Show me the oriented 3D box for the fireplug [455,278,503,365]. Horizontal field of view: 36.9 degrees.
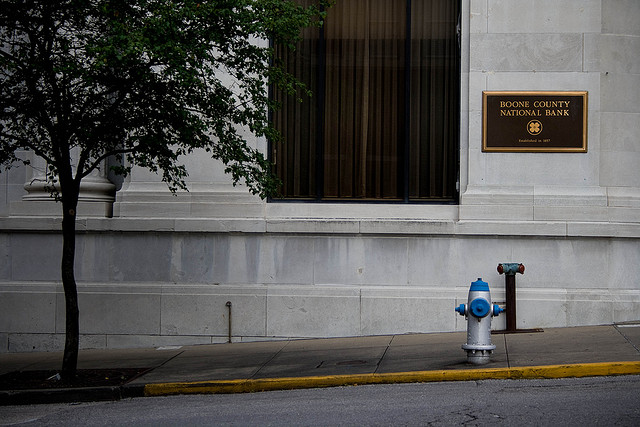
[{"bbox_3d":[3.074,2.097,18.650,0.802,1.665,0.353,0,0,7],"label":"fireplug"}]
